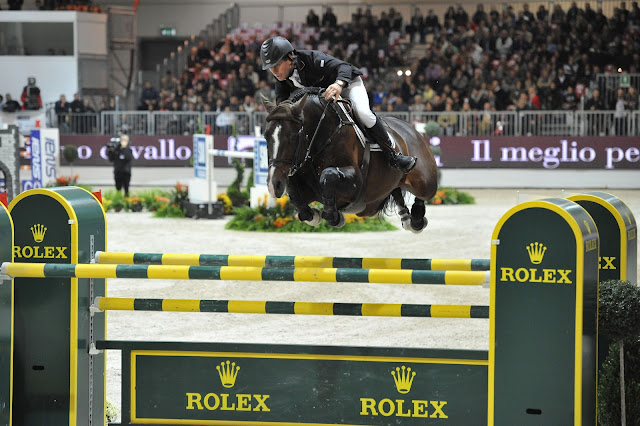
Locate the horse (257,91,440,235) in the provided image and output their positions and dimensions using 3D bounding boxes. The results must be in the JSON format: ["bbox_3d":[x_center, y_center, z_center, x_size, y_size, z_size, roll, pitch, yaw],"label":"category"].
[{"bbox_3d":[0.880,-1.092,33.665,1.893,2.917,5.477,1,-7,43],"label":"horse"}]
